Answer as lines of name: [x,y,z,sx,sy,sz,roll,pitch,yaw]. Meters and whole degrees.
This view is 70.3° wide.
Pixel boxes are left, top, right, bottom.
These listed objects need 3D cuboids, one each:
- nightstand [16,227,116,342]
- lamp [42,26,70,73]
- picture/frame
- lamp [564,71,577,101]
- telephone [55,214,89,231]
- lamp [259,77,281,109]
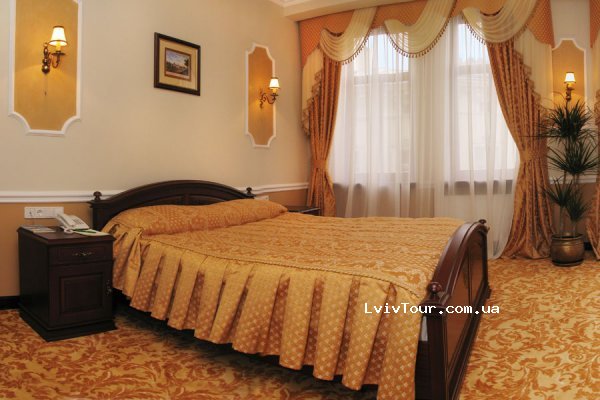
nightstand: [-2.120,0.919,4.230,0.558,0.889,0.877,-3,-17,-20]
lamp: [-2.475,-1.487,4.252,0.260,0.448,0.248,-6,15,-25]
picture/frame: [-1.508,-1.638,5.101,0.798,0.822,0.056,-2,4,-40]
lamp: [3.656,-1.525,5.742,0.215,0.384,0.219,1,3,37]
telephone: [-2.247,0.210,4.161,0.255,0.097,0.191,14,9,23]
lamp: [-0.388,-1.560,6.177,0.253,0.440,0.464,6,15,24]
